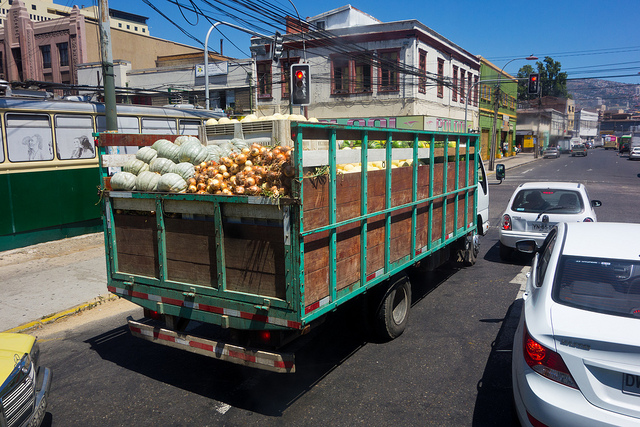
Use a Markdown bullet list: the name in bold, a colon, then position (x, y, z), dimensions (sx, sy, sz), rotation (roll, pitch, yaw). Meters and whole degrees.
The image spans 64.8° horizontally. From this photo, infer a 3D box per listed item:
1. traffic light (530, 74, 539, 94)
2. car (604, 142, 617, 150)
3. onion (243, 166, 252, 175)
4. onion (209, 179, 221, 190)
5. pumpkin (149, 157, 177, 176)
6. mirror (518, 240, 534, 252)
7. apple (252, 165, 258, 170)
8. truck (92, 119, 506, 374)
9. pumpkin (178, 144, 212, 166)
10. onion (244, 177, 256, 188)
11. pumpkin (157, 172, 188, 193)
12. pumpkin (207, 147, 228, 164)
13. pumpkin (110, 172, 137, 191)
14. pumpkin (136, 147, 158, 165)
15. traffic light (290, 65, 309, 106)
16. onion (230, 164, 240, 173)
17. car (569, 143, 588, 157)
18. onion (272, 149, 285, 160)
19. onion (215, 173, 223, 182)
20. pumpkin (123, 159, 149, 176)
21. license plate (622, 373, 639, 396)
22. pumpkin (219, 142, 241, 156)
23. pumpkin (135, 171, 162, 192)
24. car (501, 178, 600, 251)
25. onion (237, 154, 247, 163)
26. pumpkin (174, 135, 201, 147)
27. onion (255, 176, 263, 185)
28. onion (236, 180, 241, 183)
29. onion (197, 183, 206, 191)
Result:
- **traffic light**: position (13.601, -8.268, 32.235), dimensions (0.450, 1.170, 1.009), rotation (4, 15, 18)
- **car**: position (55.709, -13.043, 97.348), dimensions (1.162, 1.339, 2.436), rotation (4, 12, 29)
- **onion**: position (-1.163, -0.701, 8.161), dimensions (0.099, 0.109, 0.124), rotation (24, 20, 16)
- **onion**: position (-1.684, -0.469, 8.126), dimensions (0.146, 0.196, 0.150), rotation (1, 3, 41)
- **pumpkin**: position (-2.767, -0.834, 8.820), dimensions (0.313, 0.310, 0.312), rotation (-16, 19, -30)
- **mirror**: position (5.204, 0.822, 12.792), dimensions (0.260, 0.291, 0.073), rotation (2, -1, 37)
- **apple**: position (-1.044, -0.743, 8.121), dimensions (0.080, 0.064, 0.086), rotation (2, 11, 15)
- **truck**: position (0.368, 0.340, 10.520), dimensions (3.888, 3.580, 7.416), rotation (5, 11, 34)
- **pumpkin**: position (-2.242, -1.050, 8.967), dimensions (0.395, 0.408, 0.406), rotation (-4, 3, -26)
- **onion**: position (-1.103, -0.494, 7.929), dimensions (0.112, 0.089, 0.155), rotation (1, 33, 8)
- **pumpkin**: position (-2.484, -0.493, 8.444), dimensions (0.333, 0.356, 0.356), rotation (-4, 14, -4)
- **pumpkin**: position (-1.894, -1.104, 9.254), dimensions (0.352, 0.138, 0.375), rotation (44, 30, 19)
- **pumpkin**: position (-3.412, -0.610, 8.771), dimensions (0.336, 0.352, 0.341), rotation (-8, 11, -30)
- **pumpkin**: position (-3.132, -1.022, 9.146), dimensions (0.294, 0.258, 0.299), rotation (1, 5, -43)
- **traffic light**: position (-0.709, -4.528, 17.780), dimensions (0.671, 1.594, 0.360), rotation (-2, -9, -1)
- **onion**: position (-1.399, -0.741, 8.280), dimensions (0.118, 0.157, 0.122), rotation (0, 0, -20)
- **car**: position (34.544, -8.382, 67.483), dimensions (1.517, 1.644, 2.844), rotation (9, 17, 34)
- **onion**: position (-0.679, -0.952, 8.147), dimensions (0.133, 0.179, 0.144), rotation (4, 18, 14)
- **onion**: position (-1.655, -0.590, 8.240), dimensions (0.096, 0.096, 0.102), rotation (7, 24, 7)
- **pumpkin**: position (-3.266, -0.830, 8.963), dimensions (0.294, 0.249, 0.314), rotation (-1, 7, 23)
- **license plate**: position (3.977, 2.187, 6.476), dimensions (0.260, 0.264, 0.030), rotation (3, 4, 29)
- **pumpkin**: position (-1.690, -1.206, 9.398), dimensions (0.355, 0.115, 0.401), rotation (11, 27, 2)
- **pumpkin**: position (-2.924, -0.532, 8.613), dimensions (0.332, 0.364, 0.350), rotation (1, 4, 33)
- **car**: position (5.490, 0.105, 12.362), dimensions (1.683, 1.258, 2.631), rotation (2, 16, 28)
- **onion**: position (-1.282, -0.899, 8.276), dimensions (0.127, 0.173, 0.134), rotation (-1, -5, 33)
- **pumpkin**: position (-2.529, -1.408, 9.609), dimensions (0.314, 0.330, 0.328), rotation (3, 9, 38)
- **onion**: position (-0.957, -0.523, 7.918), dimensions (0.100, 0.130, 0.103), rotation (-4, -7, 44)
- **onion**: position (-1.297, -0.511, 8.031), dimensions (0.048, 0.034, 0.052), rotation (6, 6, 41)
- **onion**: position (-1.975, -0.452, 8.407), dimensions (0.171, 0.104, 0.058), rotation (5, 15, 21)
